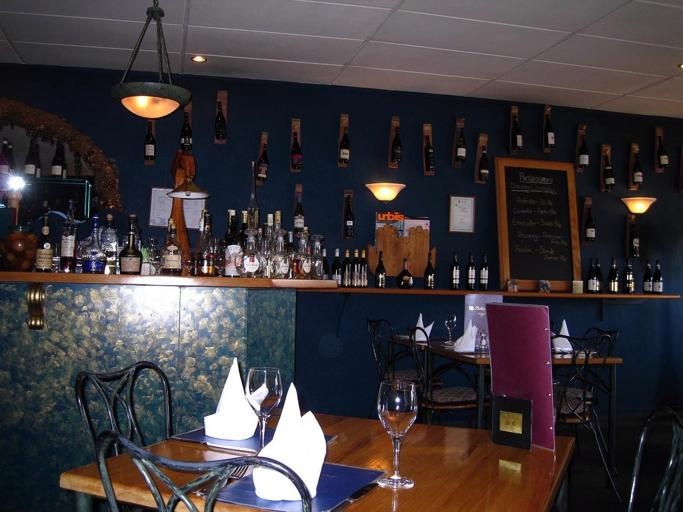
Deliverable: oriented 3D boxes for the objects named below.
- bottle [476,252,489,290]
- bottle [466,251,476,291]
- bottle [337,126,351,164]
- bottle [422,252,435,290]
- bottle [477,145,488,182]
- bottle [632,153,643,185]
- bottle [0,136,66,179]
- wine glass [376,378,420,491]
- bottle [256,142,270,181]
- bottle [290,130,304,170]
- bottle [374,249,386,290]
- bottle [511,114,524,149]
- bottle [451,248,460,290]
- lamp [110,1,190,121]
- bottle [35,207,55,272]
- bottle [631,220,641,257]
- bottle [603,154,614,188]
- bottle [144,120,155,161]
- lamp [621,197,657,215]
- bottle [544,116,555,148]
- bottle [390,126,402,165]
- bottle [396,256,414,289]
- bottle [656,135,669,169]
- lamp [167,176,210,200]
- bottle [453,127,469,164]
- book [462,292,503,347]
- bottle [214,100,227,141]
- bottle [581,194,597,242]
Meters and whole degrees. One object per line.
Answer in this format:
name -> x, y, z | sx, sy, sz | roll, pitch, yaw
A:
bottle -> 1.385, 0.156, 5.959 | 0.094, 0.355, 0.196 | 0, 0, 15
bottle -> 1.250, 0.151, 5.923 | 0.099, 0.345, 0.217 | 0, 0, 17
bottle -> 0.029, -1.028, 5.737 | 0.126, 0.356, 0.095 | 0, 0, -10
bottle -> 0.842, 0.135, 5.866 | 0.117, 0.339, 0.075 | 0, 0, -7
bottle -> 1.379, -0.905, 5.978 | 0.091, 0.346, 0.090 | 0, 0, 0
bottle -> 3.051, -0.904, 6.333 | 0.097, 0.389, 0.228 | 0, 0, 30
bottle -> -2.674, -0.836, 5.247 | 0.343, 0.366, 0.085 | 1, -3, -17
wine glass -> 0.209, 0.644, 2.240 | 0.132, 0.367, 0.188 | 0, 0, 25
bottle -> -0.722, -0.851, 5.567 | 0.116, 0.345, 0.082 | 0, 0, -9
bottle -> -0.418, -0.961, 5.613 | 0.108, 0.362, 0.125 | 0, 0, -10
bottle -> 0.360, 0.125, 5.728 | 0.094, 0.330, 0.111 | 0, 0, 4
bottle -> 1.753, -1.216, 6.072 | 0.093, 0.352, 0.203 | 0, 1, 39
bottle -> 1.092, 0.149, 5.890 | 0.101, 0.341, 0.227 | 0, 0, 11
lamp -> -1.315, -1.331, 4.238 | 0.432, 0.900, 1.475 | 0, 0, -18
bottle -> -1.802, -0.083, 3.695 | 0.089, 0.349, 0.469 | 0, 0, -26
bottle -> 3.017, -0.186, 6.296 | 0.061, 0.408, 0.148 | 0, 1, 45
bottle -> 2.732, -0.854, 6.257 | 0.109, 0.341, 0.195 | 0, 0, 23
bottle -> -1.687, -1.006, 5.381 | 0.090, 0.373, 0.108 | 0, 0, -17
lamp -> 3.033, -0.509, 6.252 | 0.322, 0.175, 0.217 | 0, 0, -6
bottle -> 2.079, -1.231, 6.125 | 0.107, 0.316, 0.214 | 0, 0, 20
bottle -> 0.522, -1.043, 5.830 | 0.123, 0.382, 0.117 | 0, 0, 0
bottle -> 0.613, 0.155, 5.757 | 0.182, 0.290, 0.191 | 0, 0, 0
bottle -> 3.356, -1.079, 6.408 | 0.112, 0.352, 0.260 | 0, 0, 32
lamp -> -1.086, -0.462, 4.417 | 0.202, 0.102, 0.213 | 0, 1, 24
bottle -> 1.164, -1.084, 5.949 | 0.155, 0.395, 0.123 | 0, 0, -7
book -> 1.097, 0.556, 4.867 | 0.304, 0.498, 0.169 | -3, 17, 15
bottle -> -1.094, -1.210, 5.515 | 0.113, 0.389, 0.048 | 0, 0, -14
bottle -> 2.526, -0.368, 6.210 | 0.163, 0.448, 0.109 | 0, 0, -21
